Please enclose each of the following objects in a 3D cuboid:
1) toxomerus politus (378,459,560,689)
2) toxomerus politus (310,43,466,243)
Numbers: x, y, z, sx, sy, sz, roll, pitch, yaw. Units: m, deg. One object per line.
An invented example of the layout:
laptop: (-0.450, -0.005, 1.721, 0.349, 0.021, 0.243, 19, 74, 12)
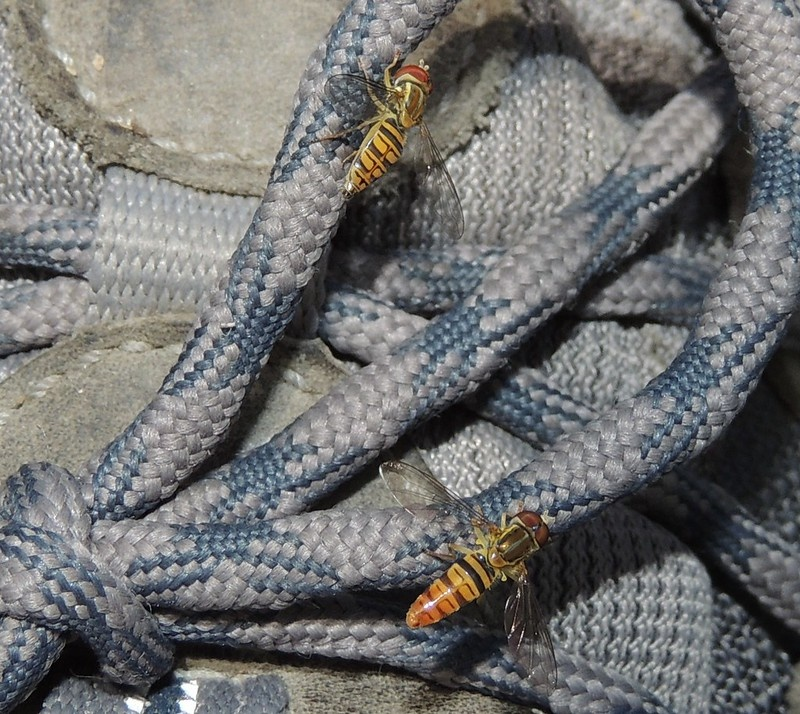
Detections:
toxomerus politus: (0.070, 0.197, 1.330, 0.156, 0.238, 0.072, -27, 3, 7)
toxomerus politus: (-0.007, -0.213, 1.274, 0.058, 0.158, 0.135, 22, 77, 30)
